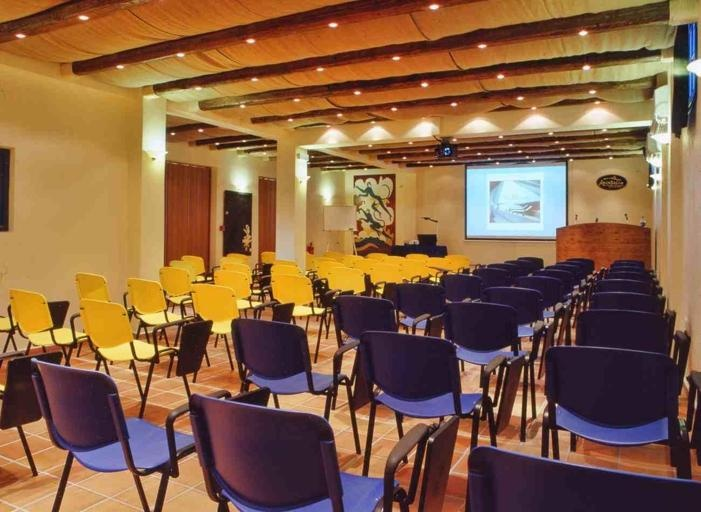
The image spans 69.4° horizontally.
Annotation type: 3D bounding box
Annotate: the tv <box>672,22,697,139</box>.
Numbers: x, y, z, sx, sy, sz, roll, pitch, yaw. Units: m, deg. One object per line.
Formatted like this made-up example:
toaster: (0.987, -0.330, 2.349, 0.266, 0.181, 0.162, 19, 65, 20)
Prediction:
tv: (3.331, -1.876, 5.068, 0.161, 1.266, 1.446, 1, 2, 31)

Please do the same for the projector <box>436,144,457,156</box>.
projector: (2.056, -2.278, 10.891, 0.251, 0.119, 0.343, 1, 5, 34)

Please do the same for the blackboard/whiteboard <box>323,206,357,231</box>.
blackboard/whiteboard: (-0.350, -1.184, 16.129, 1.257, 0.850, 0.677, 0, -2, -2)

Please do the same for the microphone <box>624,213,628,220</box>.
microphone: (8.847, -1.269, 16.259, 0.118, 0.249, 0.317, 0, 2, 30)
